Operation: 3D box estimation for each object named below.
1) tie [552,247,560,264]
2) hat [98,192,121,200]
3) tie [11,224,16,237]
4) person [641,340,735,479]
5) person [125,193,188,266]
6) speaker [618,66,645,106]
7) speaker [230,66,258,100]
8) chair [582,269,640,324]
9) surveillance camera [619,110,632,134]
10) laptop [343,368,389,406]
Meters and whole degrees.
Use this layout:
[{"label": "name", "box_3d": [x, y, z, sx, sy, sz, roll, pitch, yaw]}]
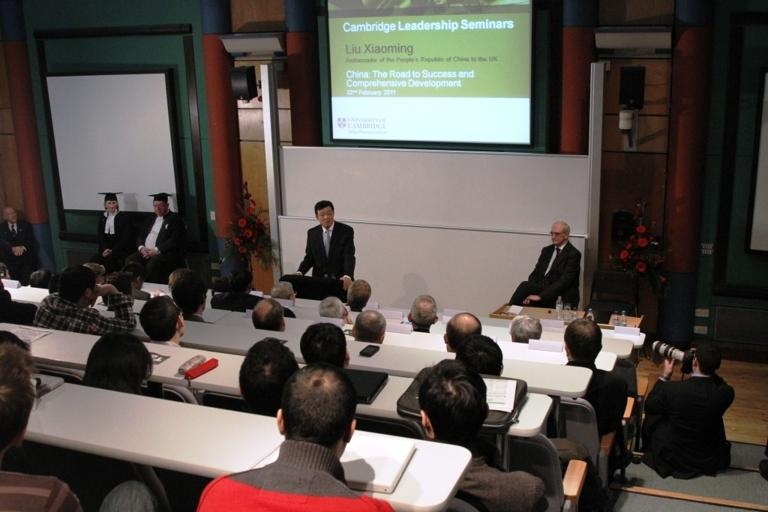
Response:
[{"label": "tie", "box_3d": [2.064, -0.006, 6.864, 0.055, 0.164, 0.090, 30, -5, -34]}, {"label": "hat", "box_3d": [-4.382, -0.986, 9.120, 0.242, 0.068, 0.249, 2, 6, 19]}, {"label": "tie", "box_3d": [-5.934, -0.420, 9.179, 0.110, 0.158, 0.046, 2, -2, 2]}, {"label": "person", "box_3d": [2.406, 1.189, 4.499, 0.658, 0.987, 0.418, -2, 12, -11]}, {"label": "person", "box_3d": [-3.393, -0.325, 8.596, 0.661, 1.013, 0.533, 8, 14, 33]}, {"label": "speaker", "box_3d": [2.907, -1.990, 6.695, 0.324, 0.512, 0.305, -1, 17, 5]}, {"label": "speaker", "box_3d": [-1.962, -2.422, 7.967, 0.309, 0.488, 0.379, 2, 12, 6]}, {"label": "chair", "box_3d": [2.729, 0.424, 6.811, 0.571, 0.955, 0.677, 3, 6, 29]}, {"label": "surveillance camera", "box_3d": [2.811, -1.580, 6.655, 0.146, 0.253, 0.236, 3, 7, 25]}, {"label": "laptop", "box_3d": [-0.104, 0.625, 2.773, 0.168, 0.037, 0.174, 5, 15, 20]}]
